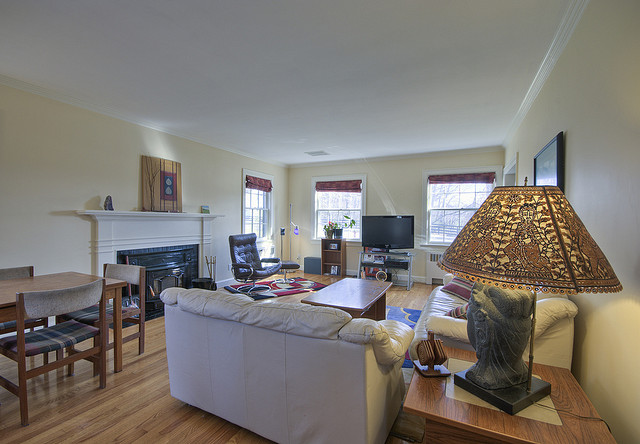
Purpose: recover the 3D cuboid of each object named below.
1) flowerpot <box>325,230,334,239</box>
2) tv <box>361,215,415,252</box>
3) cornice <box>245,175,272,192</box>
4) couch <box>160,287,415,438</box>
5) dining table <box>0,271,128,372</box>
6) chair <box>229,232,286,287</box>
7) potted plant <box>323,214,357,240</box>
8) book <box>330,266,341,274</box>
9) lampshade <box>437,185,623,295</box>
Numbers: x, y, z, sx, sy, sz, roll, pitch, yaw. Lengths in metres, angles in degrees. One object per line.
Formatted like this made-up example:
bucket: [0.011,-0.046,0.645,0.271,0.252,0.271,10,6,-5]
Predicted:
flowerpot: [0.149,0.268,8.255,0.152,0.181,0.183,-2,-2,45]
tv: [1.307,0.216,7.540,0.711,0.504,0.192,-1,-5,24]
cornice: [-1.255,-0.778,7.990,0.142,0.269,0.880,-1,0,22]
couch: [-0.345,1.142,3.240,1.938,1.121,0.407,-1,1,21]
dining table: [-2.535,0.725,3.806,0.997,0.950,1.014,-1,-2,31]
chair: [-1.132,0.613,6.776,0.746,0.814,0.837,3,6,32]
potted plant: [0.421,0.119,8.222,0.681,0.529,0.420,1,-1,8]
book: [0.296,1.007,8.242,0.191,0.164,0.046,-1,1,19]
lampshade: [1.287,0.127,2.491,0.800,0.540,0.784,1,2,13]
